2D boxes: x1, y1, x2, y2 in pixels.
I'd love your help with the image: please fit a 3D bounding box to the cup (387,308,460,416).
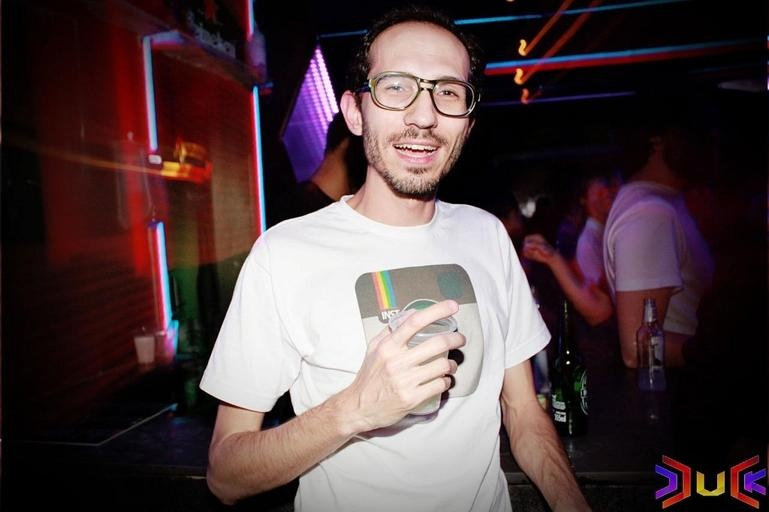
[{"bbox_3d":[0.161,0.513,2.627,0.318,0.582,0.250,8,8,2],"label":"cup"}]
